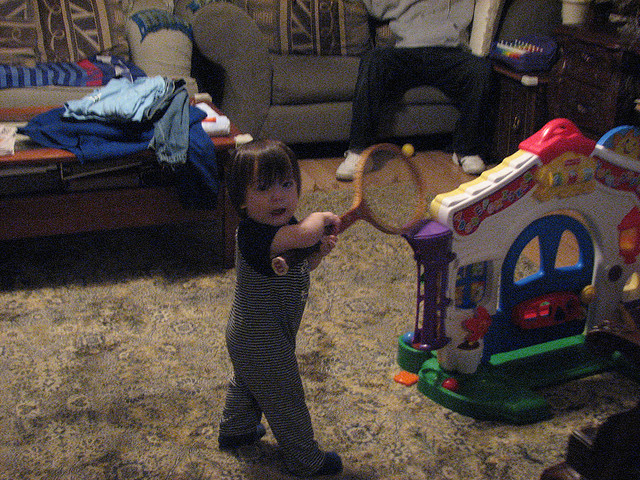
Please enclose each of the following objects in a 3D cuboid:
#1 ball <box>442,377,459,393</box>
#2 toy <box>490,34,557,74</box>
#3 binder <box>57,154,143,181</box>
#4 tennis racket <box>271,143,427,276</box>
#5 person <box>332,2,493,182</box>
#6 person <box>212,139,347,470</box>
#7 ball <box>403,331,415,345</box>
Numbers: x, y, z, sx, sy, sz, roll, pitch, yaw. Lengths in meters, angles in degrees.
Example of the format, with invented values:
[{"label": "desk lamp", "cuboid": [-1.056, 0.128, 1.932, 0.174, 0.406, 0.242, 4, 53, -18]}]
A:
[{"label": "ball", "cuboid": [0.401, 0.447, 1.588, 0.042, 0.040, 0.041, 16, 39, -13]}, {"label": "toy", "cuboid": [1.218, -1.159, 3.139, 0.341, 0.248, 0.431, -5, 29, -17]}, {"label": "binder", "cuboid": [-1.012, -0.324, 2.293, 0.216, 0.056, 0.211, -14, 9, -18]}, {"label": "tennis racket", "cuboid": [0.292, -0.143, 2.239, 0.083, 0.404, 0.853, -24, 9, 42]}, {"label": "person", "cuboid": [0.628, -0.945, 3.203, 0.990, 0.988, 0.854, 1, 24, 1]}, {"label": "person", "cuboid": [-0.123, 0.185, 1.316, 0.370, 0.856, 0.355, -6, 25, -14]}, {"label": "ball", "cuboid": [0.307, 0.330, 1.732, 0.048, 0.027, 0.048, -2, 30, 1]}]
